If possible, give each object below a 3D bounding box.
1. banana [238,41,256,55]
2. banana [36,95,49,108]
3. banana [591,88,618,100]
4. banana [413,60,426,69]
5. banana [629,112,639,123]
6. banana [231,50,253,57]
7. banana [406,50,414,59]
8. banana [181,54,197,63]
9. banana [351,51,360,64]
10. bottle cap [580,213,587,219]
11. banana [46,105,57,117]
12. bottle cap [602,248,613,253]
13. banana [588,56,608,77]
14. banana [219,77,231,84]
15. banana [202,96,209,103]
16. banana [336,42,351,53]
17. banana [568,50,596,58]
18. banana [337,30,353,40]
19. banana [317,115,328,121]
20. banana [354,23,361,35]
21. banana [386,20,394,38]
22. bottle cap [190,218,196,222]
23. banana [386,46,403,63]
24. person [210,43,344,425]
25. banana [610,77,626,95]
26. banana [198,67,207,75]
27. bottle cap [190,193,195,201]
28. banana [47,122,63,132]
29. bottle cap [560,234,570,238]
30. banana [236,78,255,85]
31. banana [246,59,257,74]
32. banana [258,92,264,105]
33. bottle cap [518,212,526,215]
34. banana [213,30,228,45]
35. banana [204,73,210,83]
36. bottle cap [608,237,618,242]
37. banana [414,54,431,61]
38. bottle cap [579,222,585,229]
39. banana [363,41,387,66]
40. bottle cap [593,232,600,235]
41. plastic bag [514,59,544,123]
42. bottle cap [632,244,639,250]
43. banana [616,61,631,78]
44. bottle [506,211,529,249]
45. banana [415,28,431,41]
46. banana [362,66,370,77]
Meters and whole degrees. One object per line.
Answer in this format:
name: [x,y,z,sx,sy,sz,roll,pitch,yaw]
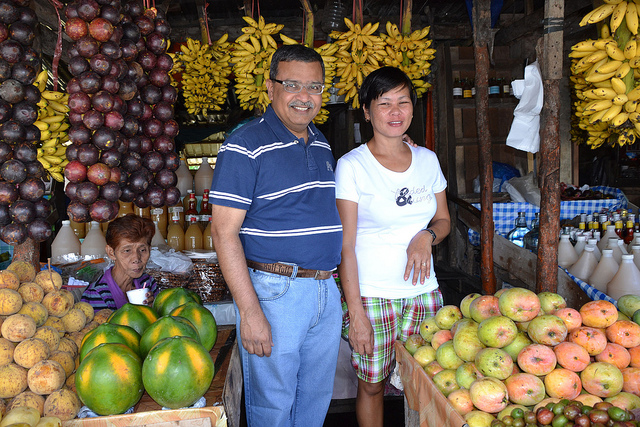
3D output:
banana: [-0.653,-1.483,4.171,0.234,0.069,0.071,42,38,23]
banana: [-1.657,-0.664,2.728,0.039,0.056,0.022,-37,6,0]
banana: [1.860,-0.772,2.972,0.176,0.057,0.059,1,13,14]
banana: [0.953,-1.386,4.290,0.123,0.082,0.056,-4,6,-13]
banana: [2.059,-0.618,2.976,0.066,0.063,0.052,-5,6,-21]
banana: [-0.714,-1.428,4.191,0.196,0.057,0.057,1,30,33]
banana: [0.840,-1.454,4.216,0.056,0.058,0.020,5,12,-12]
banana: [-1.353,-1.583,4.726,0.168,0.059,0.048,-5,47,-12]
banana: [0.325,-1.398,4.133,0.046,0.137,0.039,-9,45,21]
bottle cap: [2.602,0.021,4.500,0.039,0.047,0.040,-1,3,7]
banana: [-1.638,-0.615,2.776,0.036,0.077,0.025,-33,-1,11]
bottle cap: [1.988,0.252,3.165,0.057,0.021,0.058,-1,1,-6]
banana: [1.838,-0.960,3.021,0.205,0.067,0.055,-43,21,-22]
banana: [-1.024,-1.419,4.935,0.058,0.053,0.124,0,7,25]
banana: [-1.284,-1.260,5.109,0.014,0.050,0.050,20,-20,-41]
banana: [0.214,-1.491,4.180,0.131,0.036,0.044,-34,-28,-4]
banana: [1.734,-1.040,3.020,0.155,0.044,0.049,-4,17,18]
banana: [0.231,-1.599,4.135,0.136,0.073,0.054,-2,6,9]
banana: [0.034,-0.938,4.528,0.101,0.057,0.075,-5,7,-23]
banana: [0.340,-1.647,4.122,0.058,0.078,0.043,-18,-2,32]
banana: [0.651,-1.687,4.231,0.051,0.164,0.043,-8,-6,-25]
bottle cap: [-1.086,0.050,3.914,0.037,0.022,0.027,1,-5,-4]
banana: [0.692,-1.445,4.193,0.086,0.156,0.052,-52,6,-25]
person: [-0.194,0.165,2.480,0.744,2.112,0.281,-7,7,-39]
banana: [1.935,-0.815,2.952,0.080,0.108,0.052,1,7,33]
banana: [-1.233,-1.479,4.795,0.091,0.061,0.074,-4,6,-16]
bottle cap: [-1.117,-0.144,3.999,0.048,0.074,0.049,-4,1,-5]
banana: [-1.590,-0.518,2.748,0.074,0.048,0.046,-6,7,-30]
bottle cap: [1.914,0.170,3.563,0.056,0.026,0.061,0,7,21]
banana: [-0.685,-1.212,4.233,0.164,0.054,0.049,-2,19,11]
banana: [-0.621,-1.317,4.162,0.042,0.137,0.039,27,4,9]
banana: [-0.540,-1.055,4.239,0.032,0.110,0.040,24,18,38]
bottle cap: [2.053,-0.003,4.640,0.047,0.016,0.048,0,5,-1]
banana: [-1.039,-1.786,4.804,0.066,0.098,0.271,11,-18,-27]
banana: [-1.203,-1.421,4.841,0.045,0.078,0.018,5,22,-6]
bottle cap: [2.204,0.191,3.432,0.053,0.019,0.054,-1,2,-1]
banana: [0.967,-1.443,4.271,0.099,0.054,0.033,2,1,8]
bottle cap: [2.461,0.110,4.267,0.055,0.060,0.054,2,-4,-45]
banana: [0.518,-1.452,4.165,0.197,0.202,0.059,-31,33,12]
bottle cap: [2.320,0.163,3.822,0.031,0.025,0.033,-1,-1,-4]
plastic bag: [1.456,-0.832,3.172,0.178,0.399,0.266,0,6,20]
bottle cap: [2.183,0.228,3.150,0.037,0.027,0.039,2,8,36]
banana: [1.943,-0.906,2.924,0.056,0.111,0.037,32,-8,30]
bottle: [2.043,0.180,4.582,0.210,0.389,0.225,-9,12,2]
banana: [0.951,-1.613,4.176,0.054,0.151,0.045,37,15,-41]
banana: [0.429,-1.286,4.157,0.061,0.095,0.138,-3,6,-4]
